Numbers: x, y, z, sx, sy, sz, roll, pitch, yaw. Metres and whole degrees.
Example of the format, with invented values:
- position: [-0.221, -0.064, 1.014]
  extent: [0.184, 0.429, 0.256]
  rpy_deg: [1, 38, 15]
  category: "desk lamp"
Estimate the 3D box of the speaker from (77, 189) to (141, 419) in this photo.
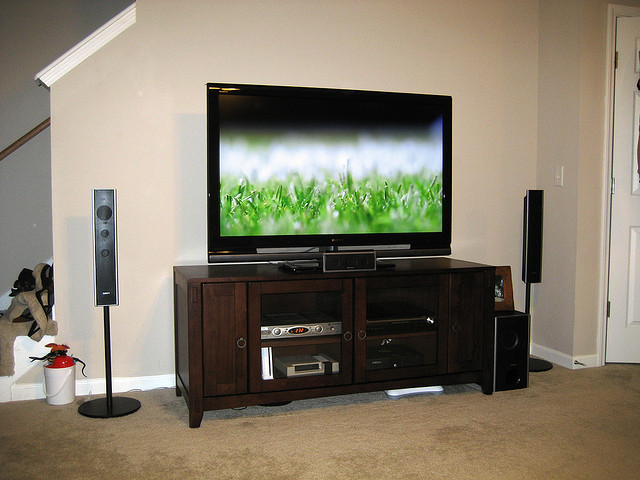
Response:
- position: [-1.360, 0.386, 3.568]
  extent: [0.357, 1.497, 0.301]
  rpy_deg: [-1, 0, 23]
  category: "speaker"

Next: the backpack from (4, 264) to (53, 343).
- position: [-1.926, 0.415, 3.728]
  extent: [0.412, 0.452, 0.203]
  rpy_deg: [8, -2, 28]
  category: "backpack"

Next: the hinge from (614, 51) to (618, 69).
- position: [2.284, -1.384, 4.307]
  extent: [0.024, 0.104, 0.006]
  rpy_deg: [-1, 0, -11]
  category: "hinge"

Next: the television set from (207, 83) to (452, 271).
- position: [0.004, -0.428, 3.799]
  extent: [1.220, 0.884, 0.293]
  rpy_deg: [0, -1, -15]
  category: "television set"

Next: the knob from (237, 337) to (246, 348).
- position: [-0.487, 0.624, 3.424]
  extent: [0.047, 0.058, 0.013]
  rpy_deg: [0, 8, -12]
  category: "knob"

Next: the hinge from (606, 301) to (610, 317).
- position: [2.246, 0.536, 4.360]
  extent: [0.027, 0.105, 0.008]
  rpy_deg: [-1, 0, -17]
  category: "hinge"

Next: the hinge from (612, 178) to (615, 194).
- position: [2.271, -0.419, 4.326]
  extent: [0.018, 0.101, 0.007]
  rpy_deg: [-1, 0, -20]
  category: "hinge"

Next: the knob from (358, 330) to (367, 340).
- position: [0.276, 0.612, 3.632]
  extent: [0.066, 0.059, 0.017]
  rpy_deg: [-2, 0, -35]
  category: "knob"
